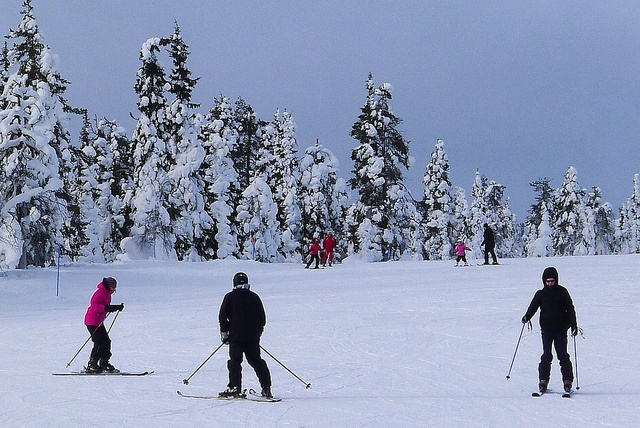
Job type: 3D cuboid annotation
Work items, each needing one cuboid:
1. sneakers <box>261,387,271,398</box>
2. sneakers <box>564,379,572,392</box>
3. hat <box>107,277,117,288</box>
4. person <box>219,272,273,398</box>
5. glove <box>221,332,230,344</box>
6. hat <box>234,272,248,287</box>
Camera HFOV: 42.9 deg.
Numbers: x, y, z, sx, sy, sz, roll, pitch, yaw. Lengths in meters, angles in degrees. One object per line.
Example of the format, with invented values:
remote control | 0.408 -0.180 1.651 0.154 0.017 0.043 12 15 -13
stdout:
sneakers | -1.427 4.770 21.602 0.199 0.271 0.123 -3 1 -3
sneakers | 6.612 4.595 21.635 0.216 0.286 0.289 -3 -19 10
hat | -6.019 1.967 23.549 0.231 0.283 0.301 17 12 5
person | -2.032 3.273 21.605 1.331 3.322 0.666 -2 8 -1
glove | -2.527 3.291 21.590 0.204 0.361 0.239 -3 8 -4
hat | -2.144 1.759 21.824 0.324 0.396 0.396 10 0 -4
